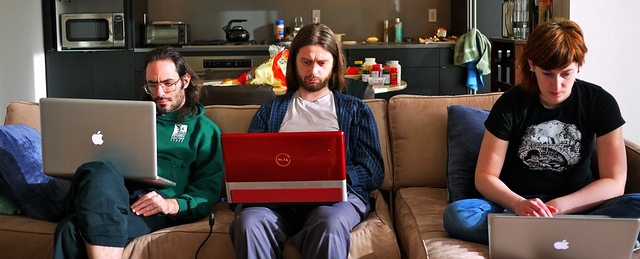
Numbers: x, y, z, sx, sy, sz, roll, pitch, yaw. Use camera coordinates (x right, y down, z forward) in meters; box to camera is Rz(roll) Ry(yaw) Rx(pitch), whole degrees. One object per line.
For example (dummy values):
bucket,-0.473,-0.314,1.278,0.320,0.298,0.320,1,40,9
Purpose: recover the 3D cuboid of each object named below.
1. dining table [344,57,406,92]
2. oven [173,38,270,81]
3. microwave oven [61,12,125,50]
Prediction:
dining table,0.771,-0.710,5.600,0.656,0.205,0.660,28,33,28
oven,-2.165,-1.244,7.636,1.430,0.566,2.045,8,12,32
microwave oven,-3.785,-1.661,7.310,1.225,0.672,0.715,0,1,-17
